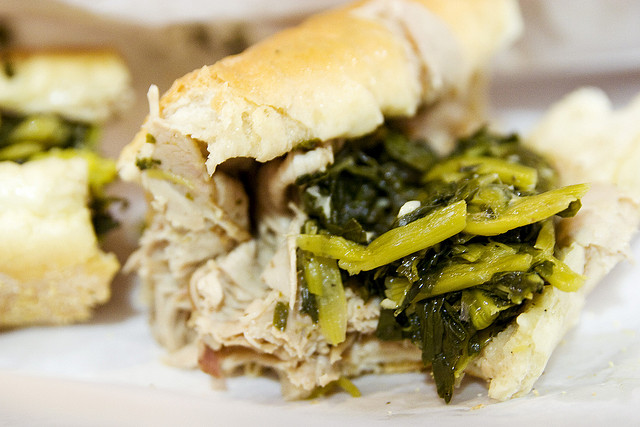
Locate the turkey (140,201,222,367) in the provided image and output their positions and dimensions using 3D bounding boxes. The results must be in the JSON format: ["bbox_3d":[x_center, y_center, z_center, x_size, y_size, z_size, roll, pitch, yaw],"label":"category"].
[{"bbox_3d":[-0.695,0.360,3.612,0.460,0.820,0.366,-15,-26,33],"label":"turkey"}]
